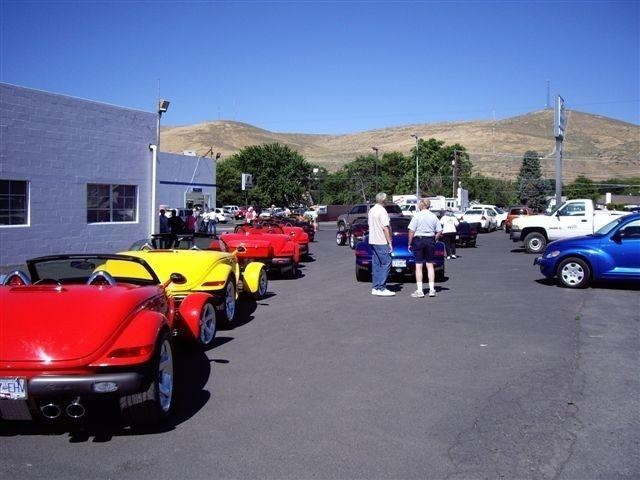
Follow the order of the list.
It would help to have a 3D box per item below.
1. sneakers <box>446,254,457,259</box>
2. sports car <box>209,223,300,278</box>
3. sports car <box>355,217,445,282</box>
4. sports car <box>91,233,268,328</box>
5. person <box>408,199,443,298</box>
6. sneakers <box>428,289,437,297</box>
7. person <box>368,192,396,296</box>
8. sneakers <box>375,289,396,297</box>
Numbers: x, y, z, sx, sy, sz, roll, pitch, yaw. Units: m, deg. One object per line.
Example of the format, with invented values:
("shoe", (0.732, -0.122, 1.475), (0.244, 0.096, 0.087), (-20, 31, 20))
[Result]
("sneakers", (5.547, 0.737, 21.833), (0.526, 0.225, 0.173), (9, -15, -44))
("sports car", (-1.440, 0.242, 14.724), (1.441, 0.932, 2.567), (3, 6, 11))
("sports car", (2.045, 0.394, 15.612), (1.618, 1.318, 3.498), (-1, 5, 7))
("sports car", (-1.920, 0.525, 9.555), (1.534, 1.095, 2.607), (1, 6, 14))
("person", (2.549, 0.174, 12.613), (0.726, 2.262, 1.582), (0, 4, 13))
("sneakers", (2.630, 1.253, 12.225), (0.139, 0.082, 0.209), (0, 5, 9))
("person", (1.493, 0.104, 12.510), (0.593, 2.451, 1.017), (0, 3, 9))
("sneakers", (1.563, 1.242, 12.360), (0.464, 0.230, 0.182), (0, 6, 7))
